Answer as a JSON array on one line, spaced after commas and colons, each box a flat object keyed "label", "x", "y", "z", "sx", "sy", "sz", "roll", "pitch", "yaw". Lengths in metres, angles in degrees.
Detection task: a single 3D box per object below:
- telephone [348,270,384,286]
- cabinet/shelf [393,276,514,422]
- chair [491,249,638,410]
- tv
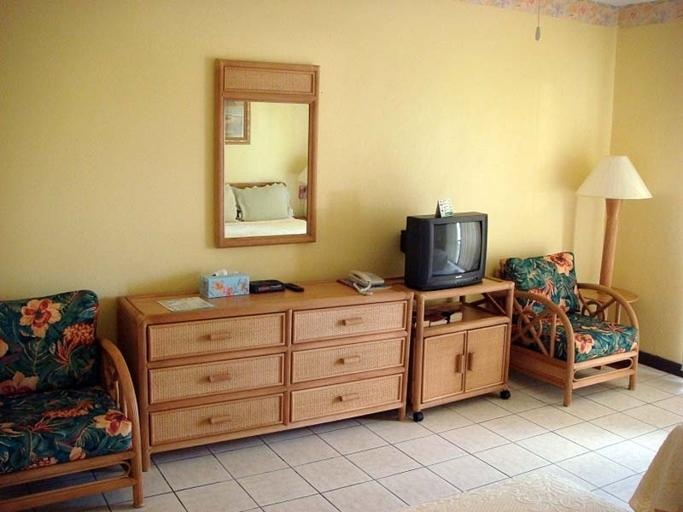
[{"label": "telephone", "x": 0.169, "y": 0.153, "z": 3.851, "sx": 0.160, "sy": 0.041, "sz": 0.149, "roll": 1, "pitch": 14, "yaw": -29}, {"label": "cabinet/shelf", "x": 0.824, "y": 0.722, "z": 4.020, "sx": 1.093, "sy": 0.974, "sz": 0.586, "roll": -6, "pitch": 11, "yaw": -27}, {"label": "chair", "x": 2.062, "y": 0.508, "z": 4.671, "sx": 1.168, "sy": 1.332, "sz": 1.311, "roll": -5, "pitch": 8, "yaw": -21}, {"label": "tv", "x": 0.782, "y": -0.047, "z": 4.059, "sx": 0.675, "sy": 0.541, "sz": 0.296, "roll": -9, "pitch": 18, "yaw": -38}]
